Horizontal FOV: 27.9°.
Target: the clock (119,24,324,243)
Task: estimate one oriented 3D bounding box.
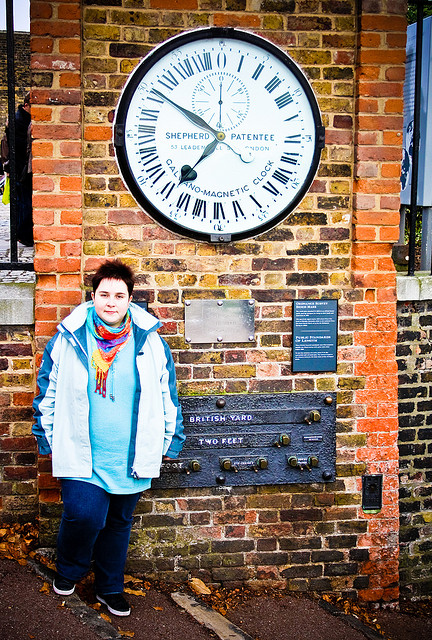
[{"bbox_3d":[0.018,-0.989,4.670,1.229,1.115,0.131,6,14,23],"label":"clock"}]

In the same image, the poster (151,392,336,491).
[{"bbox_3d":[0.162,0.677,4.824,1.044,0.525,0.098,-1,8,-8],"label":"poster"}]

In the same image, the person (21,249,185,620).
[{"bbox_3d":[-0.573,0.557,4.464,0.756,1.230,0.698,4,-2,-16],"label":"person"}]

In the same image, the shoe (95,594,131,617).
[{"bbox_3d":[-0.508,1.434,4.407,0.196,0.072,0.072,9,-3,36],"label":"shoe"}]
